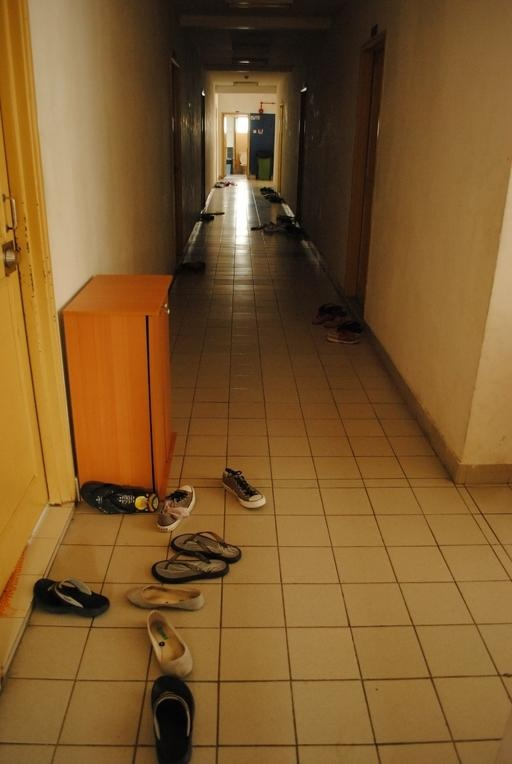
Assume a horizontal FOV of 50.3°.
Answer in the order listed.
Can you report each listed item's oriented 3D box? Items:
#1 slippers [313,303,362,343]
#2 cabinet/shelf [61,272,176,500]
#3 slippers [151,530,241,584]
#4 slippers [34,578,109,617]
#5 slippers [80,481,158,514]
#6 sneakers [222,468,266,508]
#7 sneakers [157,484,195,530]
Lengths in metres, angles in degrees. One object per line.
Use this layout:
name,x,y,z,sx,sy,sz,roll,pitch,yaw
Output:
slippers,0.744,-0.543,4.974,0.398,0.148,0.339,2,34,-27
cabinet/shelf,-0.615,0.030,2.524,0.409,0.923,0.528,0,24,-6
slippers,-0.217,0.677,2.080,0.178,0.049,0.177,8,18,4
slippers,-0.624,0.694,1.845,0.222,0.076,0.120,15,9,1
slippers,-0.602,0.514,2.435,0.353,0.153,0.115,3,-5,-8
sneakers,-0.059,0.492,2.557,0.093,0.115,0.264,-16,17,-21
sneakers,-0.349,0.550,2.375,0.080,0.081,0.194,6,33,13
